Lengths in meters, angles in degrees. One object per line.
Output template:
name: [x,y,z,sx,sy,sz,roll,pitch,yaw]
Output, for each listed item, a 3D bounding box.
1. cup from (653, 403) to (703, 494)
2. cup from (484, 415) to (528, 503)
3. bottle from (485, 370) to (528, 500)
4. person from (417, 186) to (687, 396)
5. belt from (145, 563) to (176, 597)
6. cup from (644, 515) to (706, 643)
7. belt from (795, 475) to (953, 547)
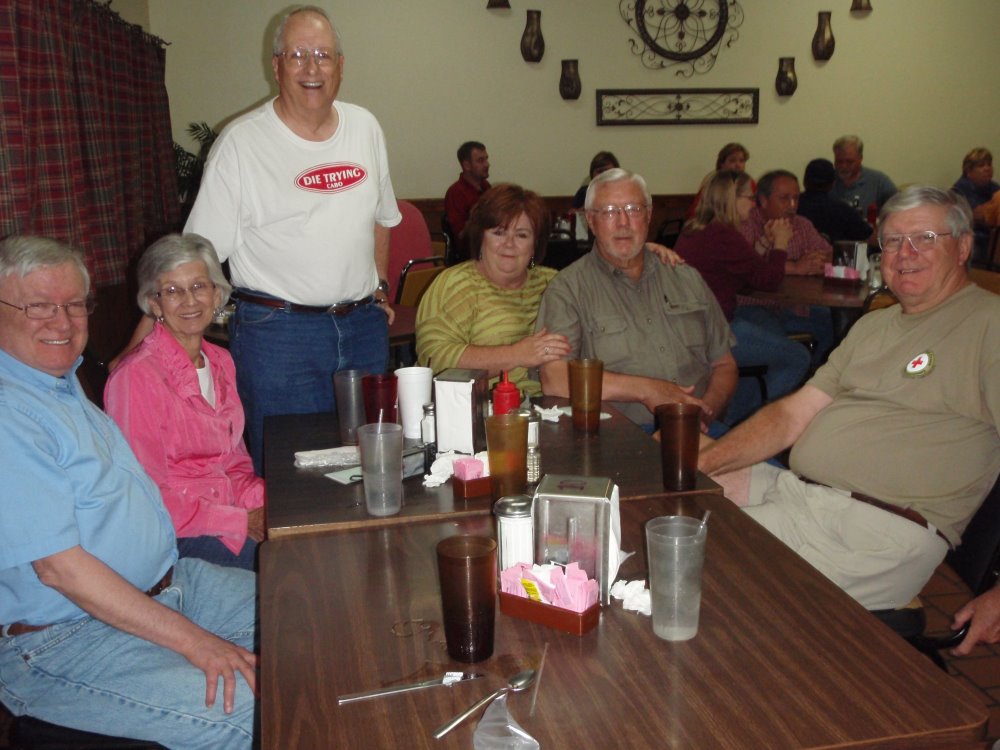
cup: [0.399,0.152,1.842,0.096,0.181,0.176,3,20,11]
cup: [0.019,0.160,1.721,0.079,0.187,0.152,4,20,13]
bottle: [0.015,0.154,1.703,0.089,0.321,0.087,-1,15,0]
person: [0.207,-0.377,2.987,0.648,1.172,0.635,-16,25,-35]
belt: [-0.795,0.482,1.910,0.040,0.020,0.054,-23,29,26]
cup: [0.285,0.337,1.339,0.100,0.181,0.100,-1,3,0]
belt: [0.980,0.332,2.114,0.229,0.060,0.179,25,11,38]
